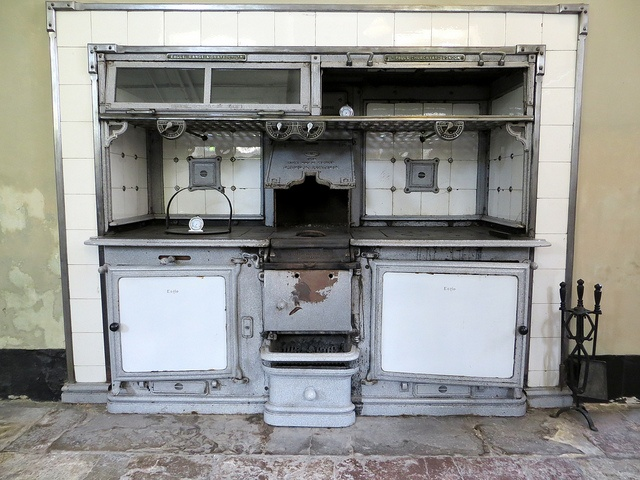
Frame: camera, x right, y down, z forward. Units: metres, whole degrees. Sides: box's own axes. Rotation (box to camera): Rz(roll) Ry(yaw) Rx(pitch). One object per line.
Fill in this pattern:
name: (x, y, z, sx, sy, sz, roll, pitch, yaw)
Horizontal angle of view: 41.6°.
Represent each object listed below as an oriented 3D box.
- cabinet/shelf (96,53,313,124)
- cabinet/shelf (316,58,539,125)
cabinet/shelf: (-0.963, -1.326, 7.261, 1.815, 0.572, 0.172, 1, 1, 2)
cabinet/shelf: (0.917, -1.316, 7.470, 1.800, 0.438, 0.687, 1, 6, -1)
